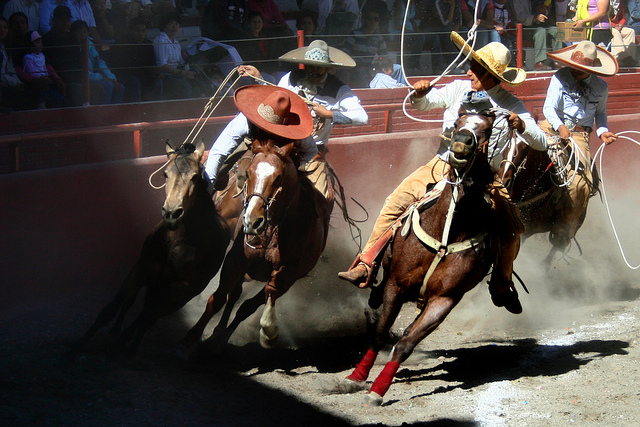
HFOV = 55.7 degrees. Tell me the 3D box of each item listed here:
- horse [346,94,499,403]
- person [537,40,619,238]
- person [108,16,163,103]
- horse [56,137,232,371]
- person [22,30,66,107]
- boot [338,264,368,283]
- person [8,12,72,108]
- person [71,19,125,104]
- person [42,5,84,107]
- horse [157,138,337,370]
[{"bbox_3d":[1.065,0.249,5.744,1.142,2.685,0.833,2,12,15],"label":"horse"},{"bbox_3d":[3.296,-1.009,8.088,1.331,2.479,1.076,-1,13,-30],"label":"person"},{"bbox_3d":[-2.570,-2.214,8.765,0.521,1.177,0.597,13,-12,3],"label":"person"},{"bbox_3d":[-1.617,0.635,7.030,0.774,2.201,3.192,15,-12,-1],"label":"horse"},{"bbox_3d":[-3.749,-1.941,8.165,0.505,1.003,0.295,-11,15,-39],"label":"person"},{"bbox_3d":[0.377,0.605,6.163,0.121,0.175,0.378,18,2,40],"label":"boot"},{"bbox_3d":[-3.835,-2.079,8.285,0.637,1.292,0.545,2,-14,-15],"label":"person"},{"bbox_3d":[-3.164,-2.141,8.696,0.544,1.344,0.598,0,-4,40],"label":"person"},{"bbox_3d":[-3.485,-2.133,8.376,0.515,1.342,0.464,-2,-41,3],"label":"person"},{"bbox_3d":[-0.572,0.556,7.086,0.966,2.293,3.504,15,-7,5],"label":"horse"}]
